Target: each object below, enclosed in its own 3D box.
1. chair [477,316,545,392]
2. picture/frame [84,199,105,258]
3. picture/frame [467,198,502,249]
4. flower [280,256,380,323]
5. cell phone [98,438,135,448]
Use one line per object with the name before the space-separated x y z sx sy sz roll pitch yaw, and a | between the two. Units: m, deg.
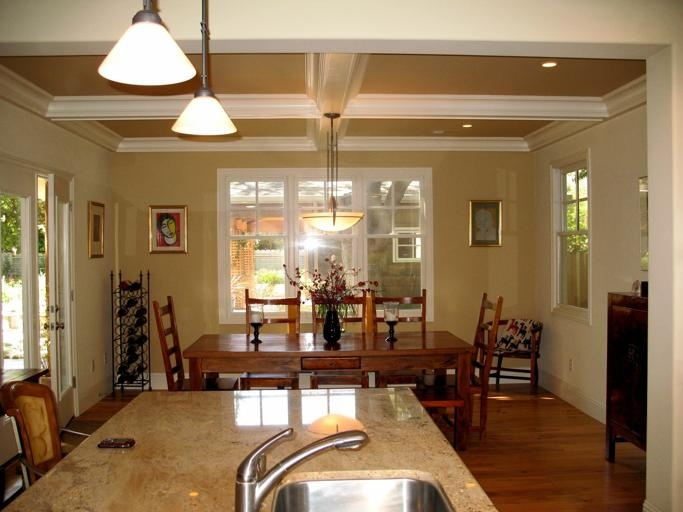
chair | 1.899 1.086 6.192 0.575 0.736 0.536 0 -11 29
picture/frame | -2.582 -0.276 5.903 0.040 0.622 0.561 0 3 -41
picture/frame | 1.642 -0.385 6.527 0.567 0.799 0.080 0 -1 -7
flower | -0.097 0.331 4.879 0.592 0.429 0.633 9 7 17
cell phone | -1.019 0.841 2.550 0.167 0.024 0.080 1 13 -2
